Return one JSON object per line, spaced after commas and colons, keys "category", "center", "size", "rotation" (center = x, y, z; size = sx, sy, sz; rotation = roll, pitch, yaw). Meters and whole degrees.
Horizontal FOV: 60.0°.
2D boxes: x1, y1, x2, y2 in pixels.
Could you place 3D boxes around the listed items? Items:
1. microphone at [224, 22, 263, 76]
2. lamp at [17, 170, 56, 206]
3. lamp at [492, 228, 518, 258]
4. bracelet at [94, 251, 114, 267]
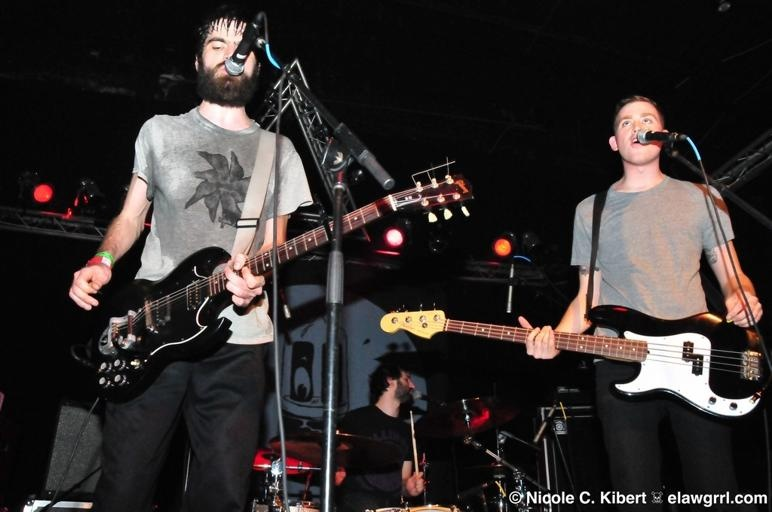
{"category": "microphone", "center": [-0.984, -1.435, 4.573], "size": [0.154, 0.307, 0.293], "rotation": [16, -27, -24]}
{"category": "lamp", "center": [-4.129, -0.785, 7.904], "size": [0.492, 0.360, 0.143], "rotation": [41, -52, 11]}
{"category": "lamp", "center": [1.562, -0.153, 8.753], "size": [0.335, 0.311, 0.233], "rotation": [-2, -26, 13]}
{"category": "bracelet", "center": [-1.989, 0.016, 4.720], "size": [0.118, 0.082, 0.103], "rotation": [36, 3, 1]}
